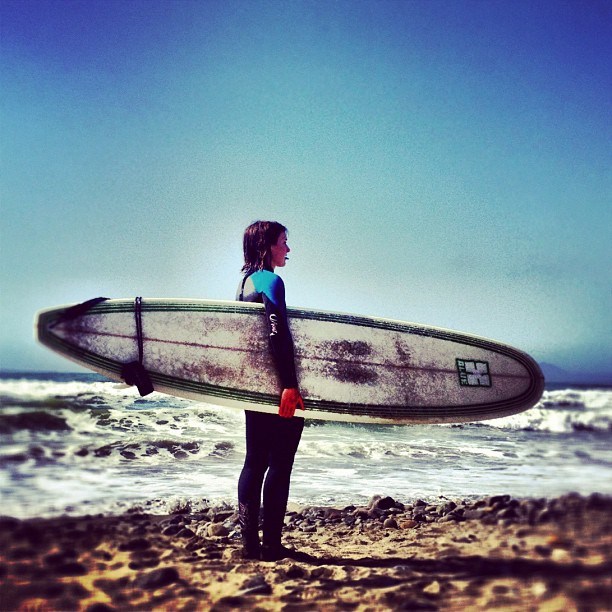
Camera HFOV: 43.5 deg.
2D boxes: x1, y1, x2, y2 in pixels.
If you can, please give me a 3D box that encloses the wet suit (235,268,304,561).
[{"bbox_3d":[-0.261,0.810,5.682,0.501,2.183,0.695,1,1,-5],"label":"wet suit"}]
